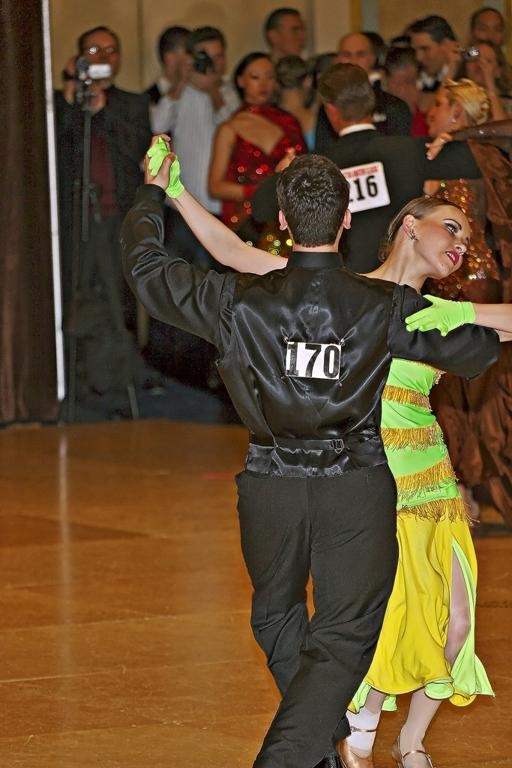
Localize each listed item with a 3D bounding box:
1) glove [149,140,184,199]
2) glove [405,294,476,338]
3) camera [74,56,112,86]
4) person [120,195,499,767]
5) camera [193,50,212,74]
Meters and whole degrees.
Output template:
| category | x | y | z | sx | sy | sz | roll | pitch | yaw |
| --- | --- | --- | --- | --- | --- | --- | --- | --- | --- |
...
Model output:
| category | x | y | z | sx | sy | sz | roll | pitch | yaw |
| --- | --- | --- | --- | --- | --- | --- | --- | --- | --- |
| glove | -0.170 | -0.409 | 1.383 | 0.078 | 0.107 | 0.031 | 8 | -1 | -24 |
| glove | 0.264 | -0.097 | 1.064 | 0.085 | 0.050 | 0.025 | -20 | 3 | -19 |
| camera | -1.011 | -1.932 | 4.541 | 0.236 | 0.128 | 0.091 | 11 | 30 | -2 |
| person | 0.033 | 0.121 | 1.136 | 0.580 | 0.848 | 0.278 | 3 | 3 | 27 |
| camera | -0.336 | -2.116 | 4.832 | 0.153 | 0.135 | 0.040 | -15 | -2 | 18 |
